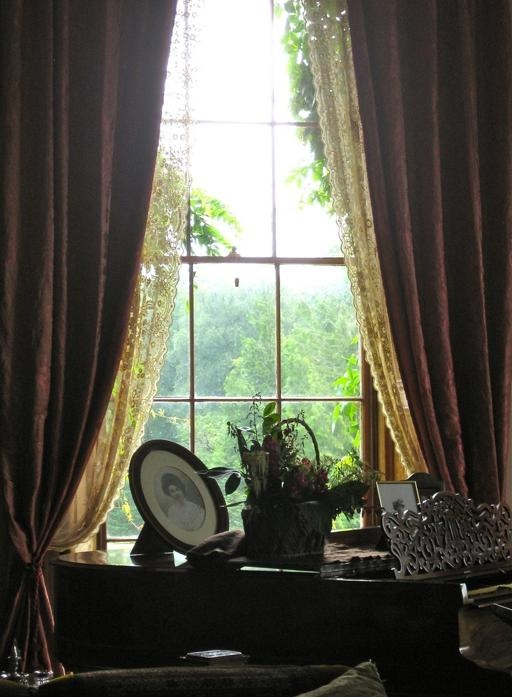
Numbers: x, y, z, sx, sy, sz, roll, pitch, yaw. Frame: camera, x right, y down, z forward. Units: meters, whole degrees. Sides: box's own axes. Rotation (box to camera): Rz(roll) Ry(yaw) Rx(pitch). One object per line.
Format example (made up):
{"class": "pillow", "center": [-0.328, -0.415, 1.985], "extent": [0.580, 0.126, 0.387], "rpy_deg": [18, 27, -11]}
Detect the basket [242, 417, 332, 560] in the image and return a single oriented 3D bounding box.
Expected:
{"class": "basket", "center": [0.082, 0.399, 1.986], "extent": [0.272, 0.390, 0.321], "rpy_deg": [0, -6, -2]}

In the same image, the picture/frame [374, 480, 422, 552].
{"class": "picture/frame", "center": [0.418, 0.478, 1.988], "extent": [0.120, 0.172, 0.092], "rpy_deg": [3, 0, -14]}

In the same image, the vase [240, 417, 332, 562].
{"class": "vase", "center": [0.108, 0.395, 1.975], "extent": [0.242, 0.396, 0.290], "rpy_deg": [-3, -7, 32]}

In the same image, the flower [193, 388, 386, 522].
{"class": "flower", "center": [0.148, 0.342, 2.070], "extent": [0.571, 0.335, 0.404], "rpy_deg": [-2, -6, 36]}
